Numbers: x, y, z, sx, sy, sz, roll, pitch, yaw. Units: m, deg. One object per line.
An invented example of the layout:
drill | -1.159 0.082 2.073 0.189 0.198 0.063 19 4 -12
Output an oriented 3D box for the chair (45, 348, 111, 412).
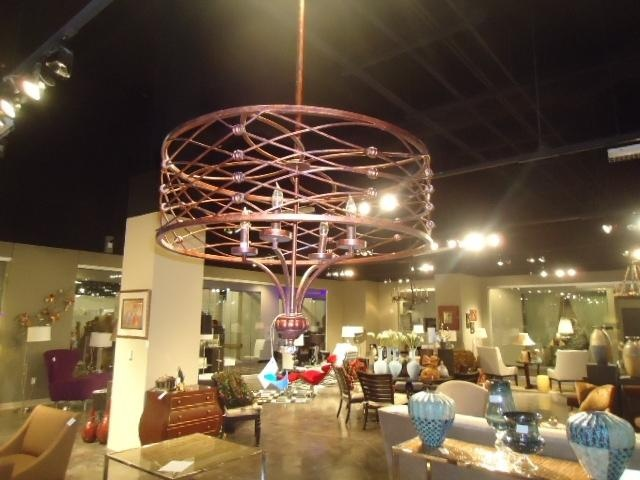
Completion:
chair | -4.773 2.652 8.600 1.308 0.934 0.841 -6 -11 40

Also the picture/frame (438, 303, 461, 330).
picture/frame | 3.811 2.266 13.104 0.087 0.909 0.851 -4 2 -41
